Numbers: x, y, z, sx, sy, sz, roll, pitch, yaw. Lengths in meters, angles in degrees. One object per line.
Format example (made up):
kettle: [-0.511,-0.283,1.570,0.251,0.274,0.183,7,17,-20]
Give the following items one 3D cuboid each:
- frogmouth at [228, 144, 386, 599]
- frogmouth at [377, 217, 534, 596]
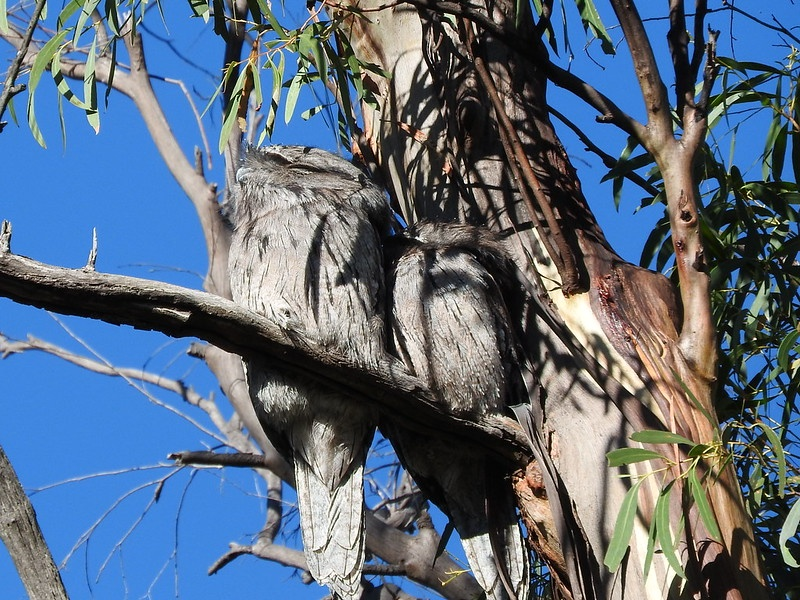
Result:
frogmouth: [-0.283,0.187,4.752,0.527,1.435,0.579,12,-30,-29]
frogmouth: [0.166,0.347,4.753,0.439,1.172,0.492,-3,-26,-1]
